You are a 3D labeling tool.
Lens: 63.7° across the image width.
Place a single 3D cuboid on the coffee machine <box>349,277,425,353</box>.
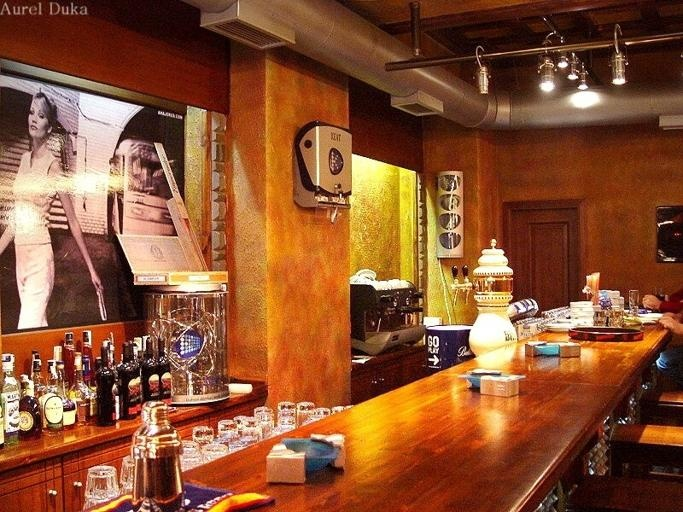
[{"bbox_3d":[0.467,0.591,5.378,0.507,0.677,0.757,-8,-5,39],"label":"coffee machine"}]
